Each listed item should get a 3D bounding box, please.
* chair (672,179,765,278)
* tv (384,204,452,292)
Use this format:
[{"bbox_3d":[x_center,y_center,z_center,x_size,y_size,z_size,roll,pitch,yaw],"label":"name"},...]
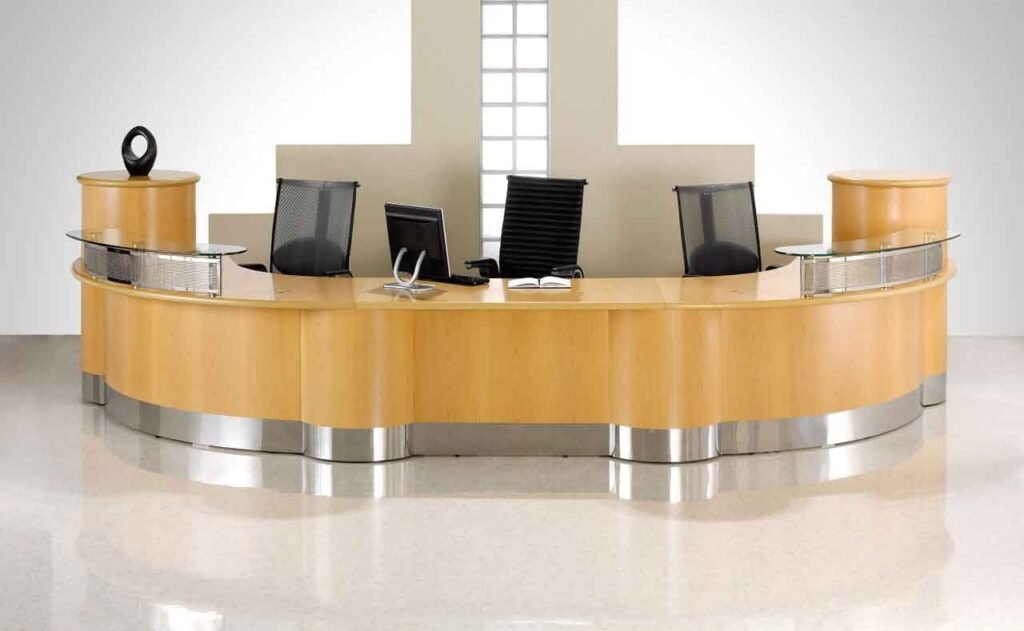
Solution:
[{"bbox_3d":[2.318,-0.894,10.633,0.948,1.230,1.003,-4,17,9],"label":"chair"},{"bbox_3d":[-0.822,-0.634,8.630,0.567,0.683,0.386,-1,4,15],"label":"tv"}]
